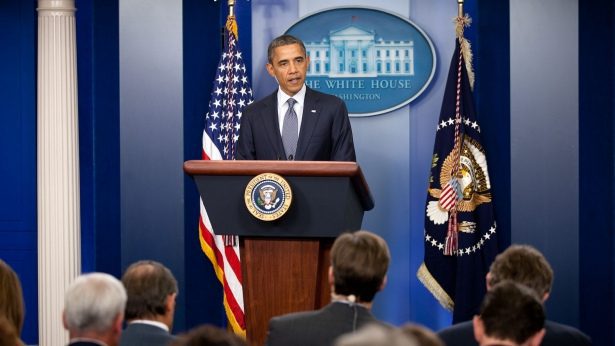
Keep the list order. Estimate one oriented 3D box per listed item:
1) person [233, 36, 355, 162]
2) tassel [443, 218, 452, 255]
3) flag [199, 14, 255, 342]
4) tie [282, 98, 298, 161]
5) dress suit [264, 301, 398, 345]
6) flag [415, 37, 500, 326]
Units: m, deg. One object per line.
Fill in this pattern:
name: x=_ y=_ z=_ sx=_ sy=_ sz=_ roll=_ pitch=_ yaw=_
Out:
person: x=-0.101 y=-0.631 z=6.667 sx=0.831 sy=1.044 sz=0.570 roll=4 pitch=5 yaw=35
tassel: x=1.365 y=0.608 z=7.794 sx=0.062 sy=0.353 sz=0.139 roll=1 pitch=4 yaw=10
flag: x=-0.798 y=0.039 z=7.909 sx=0.522 sy=3.190 sz=0.707 roll=0 pitch=4 yaw=-4
tie: x=-0.140 y=-0.350 z=6.657 sx=0.124 sy=0.406 sz=0.106 roll=4 pitch=5 yaw=37
dress suit: x=0.023 y=1.097 z=5.842 sx=0.649 sy=0.314 sz=0.089 roll=0 pitch=4 yaw=-3
flag: x=1.504 y=0.064 z=7.958 sx=0.790 sy=2.798 sz=0.541 roll=0 pitch=4 yaw=-1
